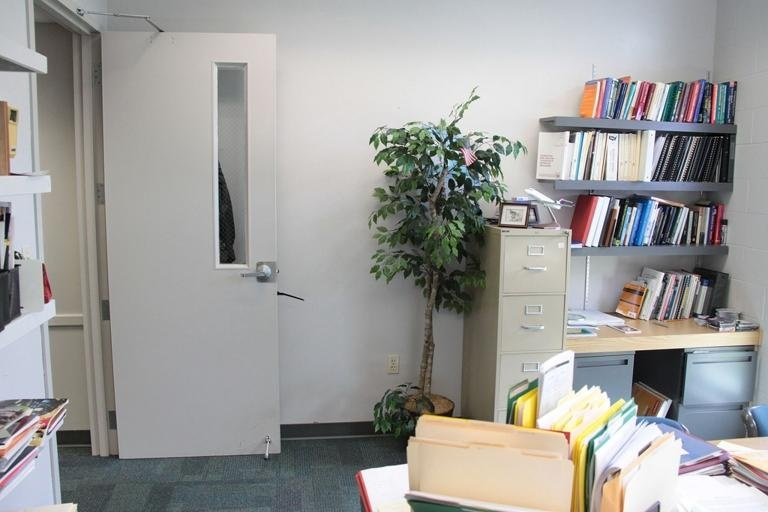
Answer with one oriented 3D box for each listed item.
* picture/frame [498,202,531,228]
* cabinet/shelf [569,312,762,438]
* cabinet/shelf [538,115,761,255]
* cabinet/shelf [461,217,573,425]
[{"bbox_3d":[0.884,-0.280,3.705,0.179,0.154,0.018,4,1,15],"label":"picture/frame"},{"bbox_3d":[1.882,0.777,3.585,0.952,0.758,0.356,0,5,-5],"label":"cabinet/shelf"},{"bbox_3d":[1.867,-0.551,4.107,1.483,0.976,0.355,-1,7,-13],"label":"cabinet/shelf"},{"bbox_3d":[0.923,0.613,3.977,0.593,1.609,0.602,0,4,-23],"label":"cabinet/shelf"}]
